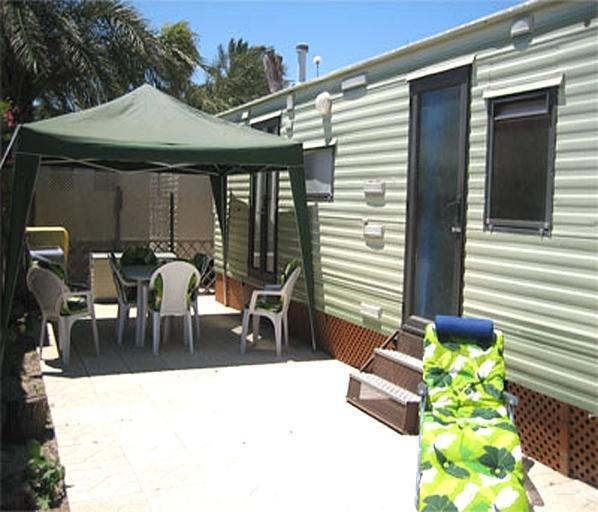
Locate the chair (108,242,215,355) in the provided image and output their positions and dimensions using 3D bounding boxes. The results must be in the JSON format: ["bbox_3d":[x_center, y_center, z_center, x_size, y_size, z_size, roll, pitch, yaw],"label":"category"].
[{"bbox_3d":[-1.837,0.494,6.431,1.036,1.131,1.345,0,0,-19],"label":"chair"}]

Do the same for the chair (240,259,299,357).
[{"bbox_3d":[-0.370,0.668,6.359,0.661,1.107,0.644,4,4,17],"label":"chair"}]
